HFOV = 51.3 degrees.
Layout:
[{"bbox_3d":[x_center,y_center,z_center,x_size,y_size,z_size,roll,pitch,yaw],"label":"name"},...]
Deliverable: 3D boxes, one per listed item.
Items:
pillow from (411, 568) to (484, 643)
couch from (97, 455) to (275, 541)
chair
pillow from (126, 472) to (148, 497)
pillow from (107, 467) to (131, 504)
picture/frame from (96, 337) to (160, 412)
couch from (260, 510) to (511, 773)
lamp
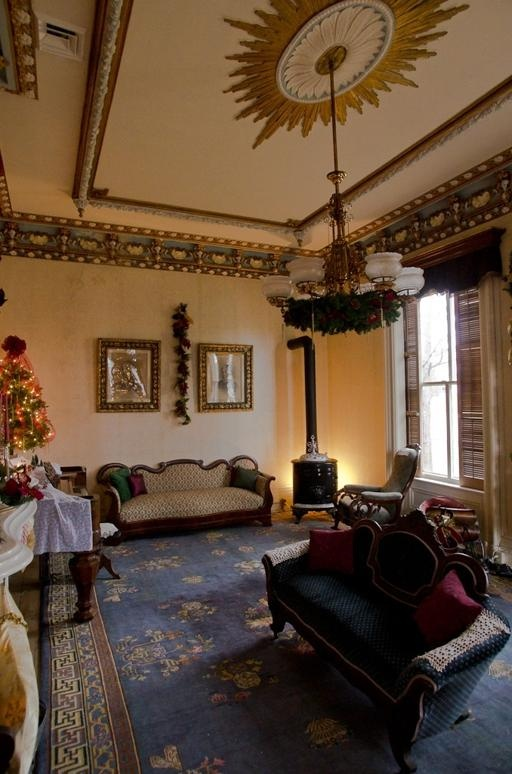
[{"bbox_3d":[0.852,1.055,2.481,0.084,0.269,0.277,33,19,-15],"label":"pillow"},{"bbox_3d":[-0.798,1.330,6.403,2.063,0.824,0.749,0,-4,-25],"label":"couch"},{"bbox_3d":[1.237,1.072,5.532,0.814,1.014,0.736,2,-4,-11],"label":"chair"},{"bbox_3d":[-1.403,1.161,6.237,0.086,0.176,0.221,-36,-29,6],"label":"pillow"},{"bbox_3d":[-1.563,1.137,6.148,0.251,0.353,0.425,0,-1,-13],"label":"pillow"},{"bbox_3d":[-1.594,-0.134,6.476,0.932,1.077,0.125,0,-3,-33],"label":"picture/frame"},{"bbox_3d":[0.691,1.183,2.877,0.692,0.914,1.472,0,-1,-21],"label":"couch"},{"bbox_3d":[0.604,-1.152,3.784,1.050,1.656,1.411,-1,-1,23],"label":"lamp"}]
